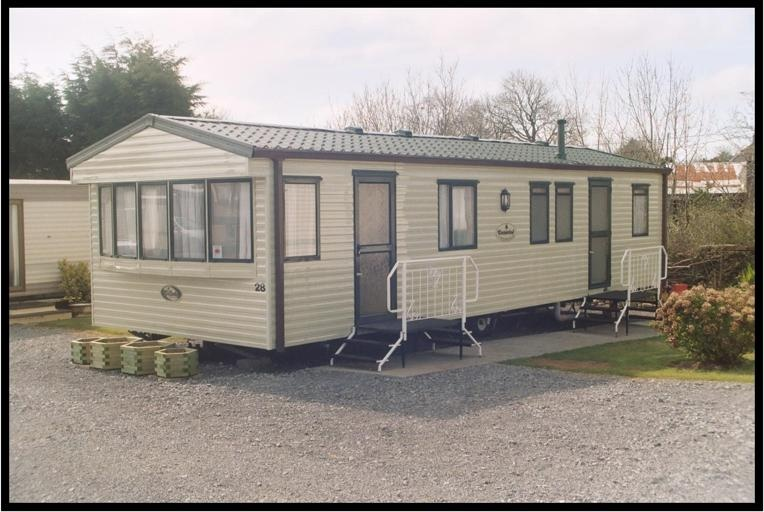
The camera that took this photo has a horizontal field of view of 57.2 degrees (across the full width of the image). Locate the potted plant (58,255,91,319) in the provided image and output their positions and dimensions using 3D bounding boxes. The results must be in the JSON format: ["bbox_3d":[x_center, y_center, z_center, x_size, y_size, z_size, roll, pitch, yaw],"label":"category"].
[{"bbox_3d":[-6.954,0.760,15.814,0.673,1.154,0.460,-2,11,-9],"label":"potted plant"}]

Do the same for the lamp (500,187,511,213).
[{"bbox_3d":[2.360,-1.060,13.358,0.286,0.467,0.103,-11,15,-42],"label":"lamp"}]
